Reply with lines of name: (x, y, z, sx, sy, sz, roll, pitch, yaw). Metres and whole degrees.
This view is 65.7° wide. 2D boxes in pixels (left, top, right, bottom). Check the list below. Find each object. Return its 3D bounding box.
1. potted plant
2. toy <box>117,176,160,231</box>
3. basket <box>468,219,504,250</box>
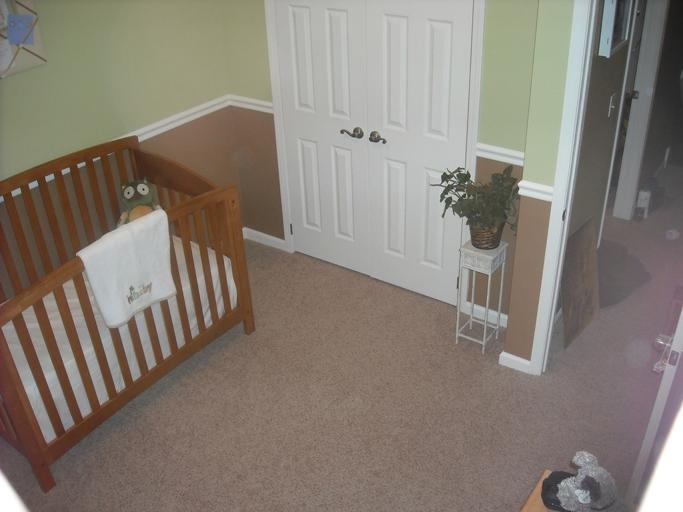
potted plant: (0.739, -0.285, 3.099, 0.476, 0.369, 0.487, 26, 45, 36)
toy: (-1.296, -0.335, 3.332, 0.268, 0.332, 0.203, -20, 19, -20)
basket: (0.866, -0.139, 3.175, 0.166, 0.139, 0.175, -4, 32, -3)
